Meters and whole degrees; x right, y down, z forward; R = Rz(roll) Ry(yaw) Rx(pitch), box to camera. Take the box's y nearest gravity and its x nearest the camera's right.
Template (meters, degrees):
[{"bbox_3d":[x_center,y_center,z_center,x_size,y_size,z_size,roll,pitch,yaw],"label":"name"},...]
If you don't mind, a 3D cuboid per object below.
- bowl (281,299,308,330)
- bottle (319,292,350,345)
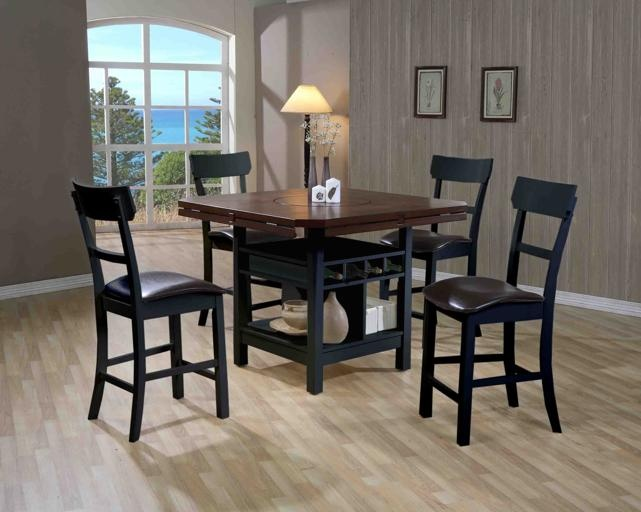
[{"bbox_3d":[-0.142,0.313,2.805,0.146,0.110,0.147,0,2,0],"label":"bowl"},{"bbox_3d":[0.076,0.327,2.715,0.123,0.269,0.096,0,11,-1],"label":"bottle"}]
